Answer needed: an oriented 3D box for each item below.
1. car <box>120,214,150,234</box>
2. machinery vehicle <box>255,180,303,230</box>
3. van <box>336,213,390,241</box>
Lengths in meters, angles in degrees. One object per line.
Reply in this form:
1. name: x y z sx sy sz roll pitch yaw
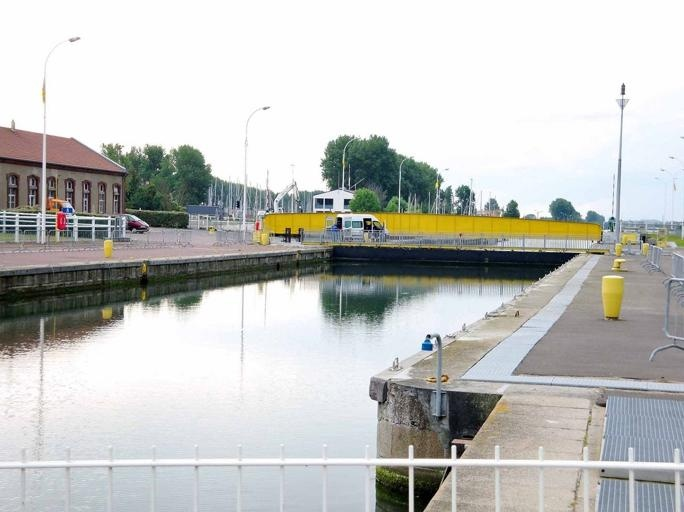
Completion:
1. car: -17.087 -2.462 80.546 2.944 1.605 1.694 2 5 22
2. machinery vehicle: -6.848 -4.955 105.915 4.624 1.301 6.613 -9 -37 -4
3. van: 1.423 -1.962 73.309 2.935 1.714 1.900 -1 5 0
